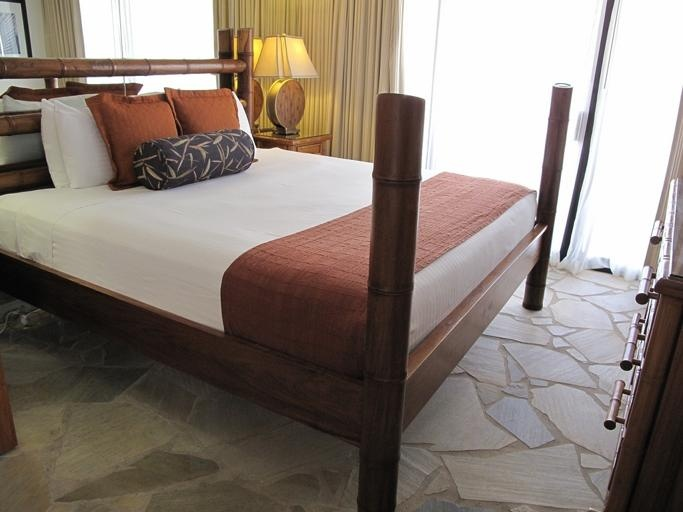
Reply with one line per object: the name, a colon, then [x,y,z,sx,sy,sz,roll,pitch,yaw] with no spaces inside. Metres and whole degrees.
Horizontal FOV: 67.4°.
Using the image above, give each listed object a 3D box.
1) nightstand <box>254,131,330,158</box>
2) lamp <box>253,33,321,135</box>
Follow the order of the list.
nightstand: [-0.474,-1.051,4.625,0.475,0.300,0.364,16,30,29]
lamp: [-0.511,-1.491,4.505,0.600,0.791,0.530,-13,24,-32]
